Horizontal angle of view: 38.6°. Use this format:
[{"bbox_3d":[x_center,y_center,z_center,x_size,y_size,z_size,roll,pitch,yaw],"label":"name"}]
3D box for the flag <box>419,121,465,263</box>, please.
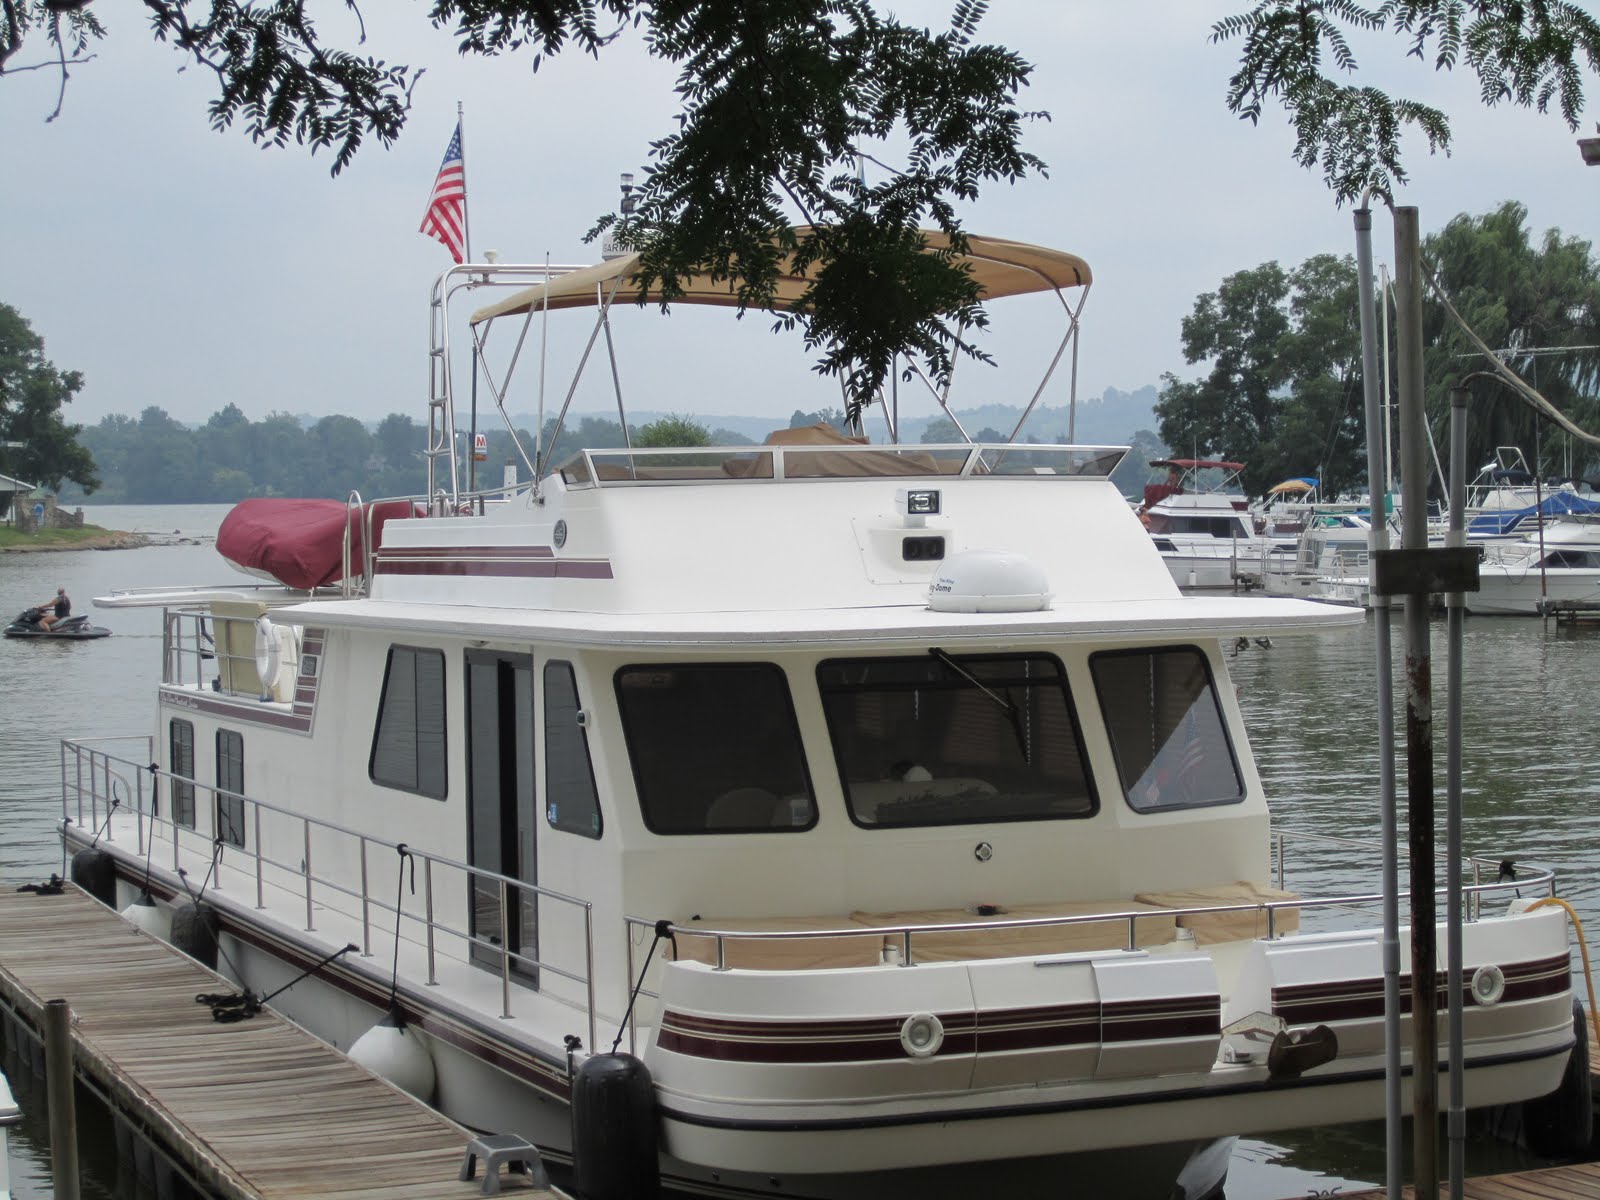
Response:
[{"bbox_3d":[-3.422,-4.063,22.349,0.524,1.903,0.204,1,-22,-16],"label":"flag"}]
